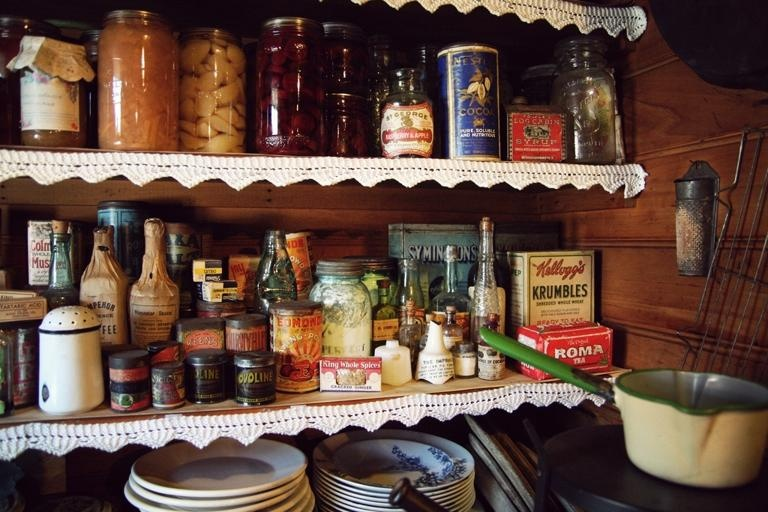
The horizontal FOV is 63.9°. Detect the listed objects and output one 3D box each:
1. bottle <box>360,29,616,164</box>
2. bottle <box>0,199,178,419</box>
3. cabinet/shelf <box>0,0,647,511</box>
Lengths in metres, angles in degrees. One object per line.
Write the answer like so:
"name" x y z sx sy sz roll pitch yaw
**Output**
"bottle" 0.354 -0.457 1.890 0.593 0.433 0.321 -2 1 -12
"bottle" -0.747 0.142 1.593 0.358 0.477 0.220 -1 3 4
"cabinet/shelf" -0.185 -0.008 1.682 1.719 1.302 0.538 1 -1 -12
